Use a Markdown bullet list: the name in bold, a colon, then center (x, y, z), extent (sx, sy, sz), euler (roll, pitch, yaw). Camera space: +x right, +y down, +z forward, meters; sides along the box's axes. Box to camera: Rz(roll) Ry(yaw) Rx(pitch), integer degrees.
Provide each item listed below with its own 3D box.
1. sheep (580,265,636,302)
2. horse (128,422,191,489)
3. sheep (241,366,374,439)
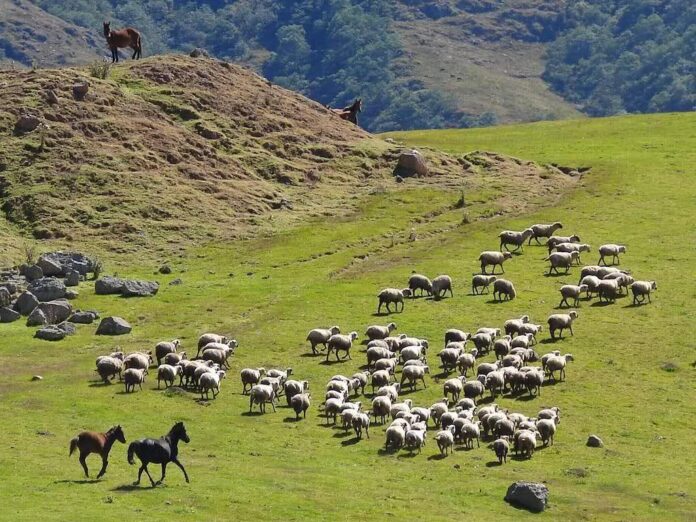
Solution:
- **sheep**: center (19.680, 1.729, 92.847), extent (3.527, 2.401, 3.239), euler (5, 4, 11)
- **horse**: center (-10.577, 10.343, 67.866), extent (3.102, 3.445, 3.340), euler (8, 9, 44)
- **sheep**: center (-1.024, 8.799, 75.664), extent (6.167, 2.554, 3.414), euler (6, 4, 30)
